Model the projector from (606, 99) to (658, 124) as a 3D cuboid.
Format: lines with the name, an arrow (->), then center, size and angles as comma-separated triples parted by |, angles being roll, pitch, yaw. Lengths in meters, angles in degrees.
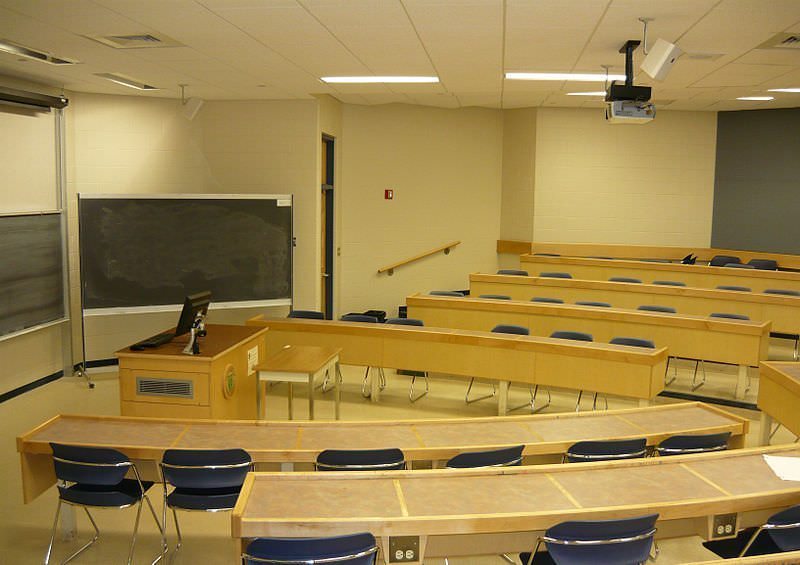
projector -> 2.770, -2.047, 7.138 | 0.376, 0.153, 0.348 | 2, 8, 11
